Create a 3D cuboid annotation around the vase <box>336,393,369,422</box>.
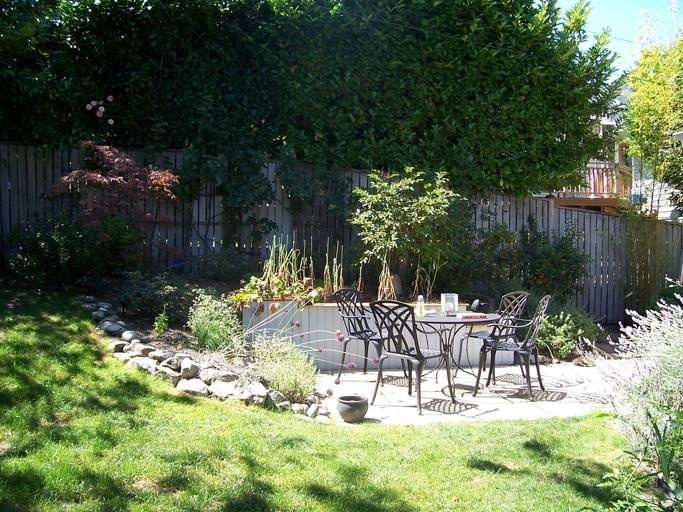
[{"bbox_3d":[0.124,1.650,7.286,0.247,0.229,0.280,2,-8,-9],"label":"vase"}]
